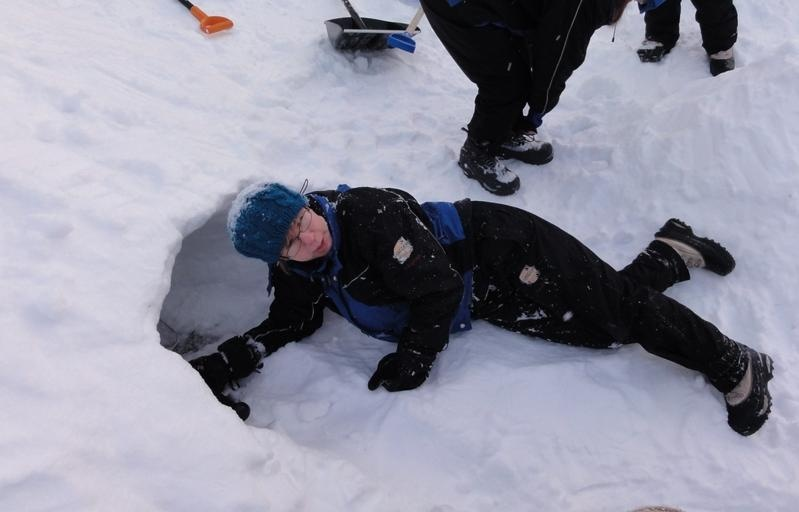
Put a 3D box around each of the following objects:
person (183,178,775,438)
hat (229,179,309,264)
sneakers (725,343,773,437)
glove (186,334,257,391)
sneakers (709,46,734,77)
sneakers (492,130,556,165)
[{"bbox_3d":[0.518,0.298,4.313,3.133,1.161,1.165,7,92,-8],"label":"person"},{"bbox_3d":[-0.749,-0.167,3.833,0.338,0.413,0.333,14,64,-45],"label":"hat"},{"bbox_3d":[1.881,0.751,4.007,0.246,0.217,0.528,9,77,-23],"label":"sneakers"},{"bbox_3d":[-0.972,0.613,4.092,0.388,0.150,0.234,-29,90,-29],"label":"glove"},{"bbox_3d":[2.234,-1.351,5.080,0.099,0.115,0.294,-5,64,35],"label":"sneakers"},{"bbox_3d":[0.852,-0.718,4.957,0.183,0.481,0.220,-19,106,-50],"label":"sneakers"}]
